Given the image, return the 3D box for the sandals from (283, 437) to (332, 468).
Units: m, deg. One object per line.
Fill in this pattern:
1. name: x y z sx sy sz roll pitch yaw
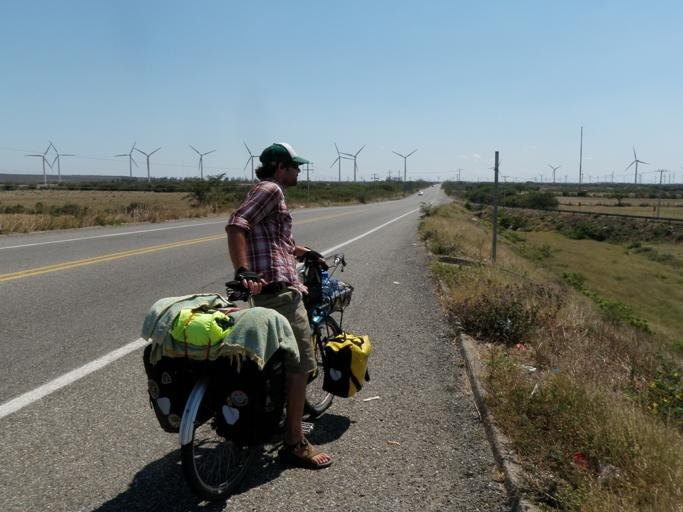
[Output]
1. sandals: -0.311 1.707 4.397 0.361 0.195 0.218 4 5 20

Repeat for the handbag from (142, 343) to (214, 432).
1. handbag: -1.265 1.017 3.866 0.523 0.650 0.168 7 14 26

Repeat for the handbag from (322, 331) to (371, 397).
1. handbag: 0.001 1.072 5.074 0.455 0.794 0.733 1 1 16
